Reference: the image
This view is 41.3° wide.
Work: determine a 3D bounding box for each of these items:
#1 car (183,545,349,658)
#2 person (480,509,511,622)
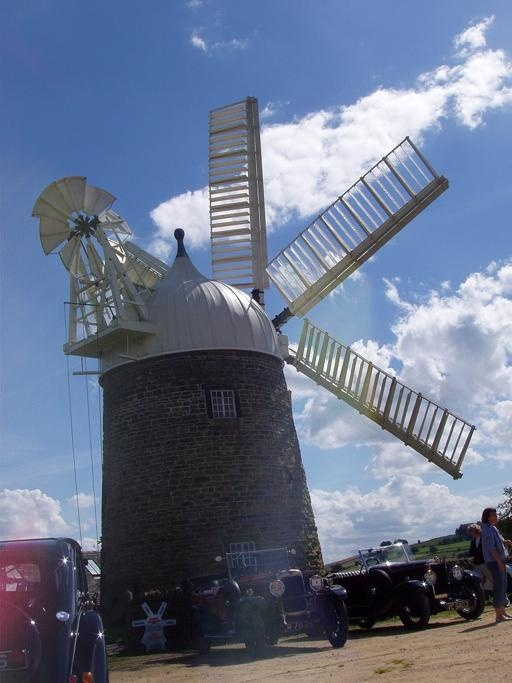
[{"bbox_3d":[0.442,5.001,12.989,1.987,1.631,3.503,13,-28,-35],"label":"car"},{"bbox_3d":[3.801,3.560,10.767,0.371,1.820,1.219,-11,-13,15],"label":"person"}]
